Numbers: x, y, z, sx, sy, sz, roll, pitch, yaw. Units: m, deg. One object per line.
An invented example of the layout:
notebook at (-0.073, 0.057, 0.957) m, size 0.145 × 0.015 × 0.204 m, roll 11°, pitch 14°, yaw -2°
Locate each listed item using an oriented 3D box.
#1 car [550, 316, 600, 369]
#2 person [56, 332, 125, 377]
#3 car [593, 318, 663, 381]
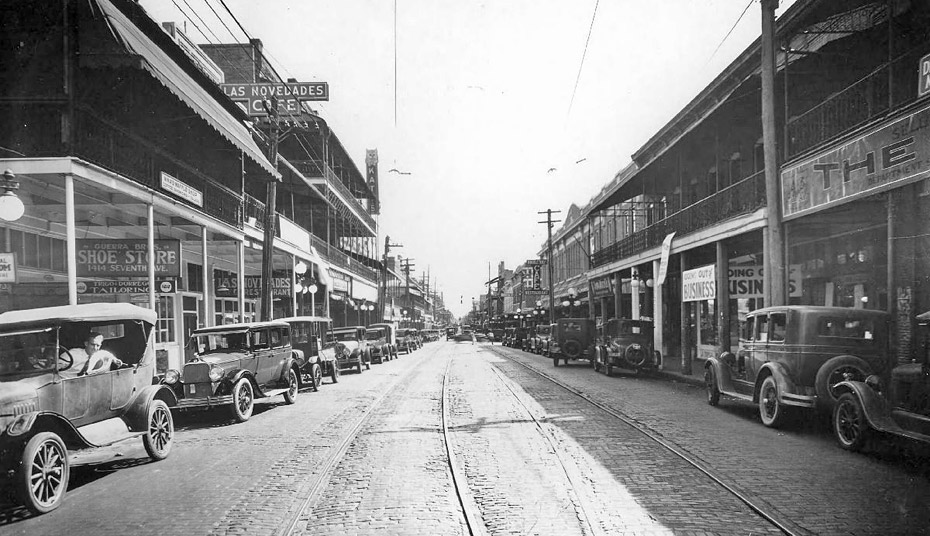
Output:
car at (5.619, 3.980, 37.854) m, size 2.262 × 2.321 × 4.272 m, roll 0°, pitch -3°, yaw 5°
person at (-8.903, 2.066, 17.410) m, size 0.367 × 1.333 × 0.973 m, roll -5°, pitch -7°, yaw 28°
car at (6.868, 3.384, 32.018) m, size 1.668 × 1.604 × 3.074 m, roll 1°, pitch 0°, yaw 2°
